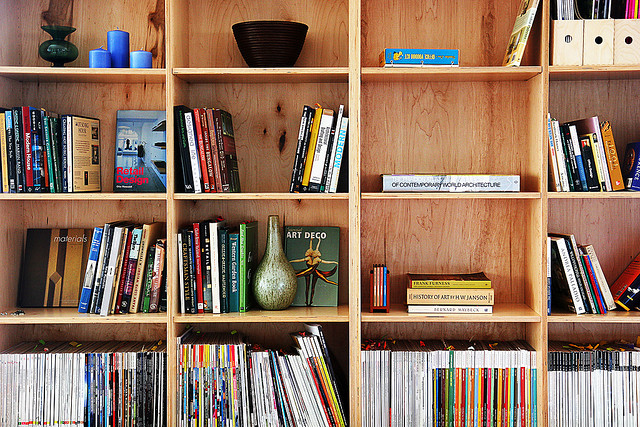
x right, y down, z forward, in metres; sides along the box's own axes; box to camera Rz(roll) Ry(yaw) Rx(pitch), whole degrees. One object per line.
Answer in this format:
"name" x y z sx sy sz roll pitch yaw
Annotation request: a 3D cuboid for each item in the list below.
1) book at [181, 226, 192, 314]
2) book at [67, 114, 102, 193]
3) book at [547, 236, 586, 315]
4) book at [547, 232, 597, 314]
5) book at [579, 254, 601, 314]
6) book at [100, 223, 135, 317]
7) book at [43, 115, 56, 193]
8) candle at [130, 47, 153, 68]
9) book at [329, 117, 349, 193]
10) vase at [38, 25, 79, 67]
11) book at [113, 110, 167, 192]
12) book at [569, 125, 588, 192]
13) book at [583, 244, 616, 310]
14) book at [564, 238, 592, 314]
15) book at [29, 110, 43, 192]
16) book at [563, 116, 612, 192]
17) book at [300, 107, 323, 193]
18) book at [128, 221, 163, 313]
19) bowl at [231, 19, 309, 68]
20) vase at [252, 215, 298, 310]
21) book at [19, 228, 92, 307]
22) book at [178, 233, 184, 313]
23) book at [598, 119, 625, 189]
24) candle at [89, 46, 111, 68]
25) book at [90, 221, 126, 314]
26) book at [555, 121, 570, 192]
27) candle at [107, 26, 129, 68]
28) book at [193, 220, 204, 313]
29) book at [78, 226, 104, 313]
"book" -0.669 0.296 2.853 0.030 0.418 0.055 -3 6 -26
"book" -1.206 -0.303 2.926 0.068 0.390 0.233 1 6 18
"book" 1.223 0.310 2.863 0.066 0.318 0.294 -11 2 5
"book" 1.301 0.295 2.854 0.068 0.330 0.314 -10 23 12
"book" 1.345 0.360 2.843 0.050 0.235 0.214 -13 -2 10
"book" -1.026 0.296 2.887 0.061 0.512 0.412 7 -1 3
"book" -1.338 -0.293 2.828 0.053 0.375 0.022 3 6 29
"candle" -0.898 -0.786 2.891 0.087 0.107 0.086 -1 3 -45
"book" 0.091 -0.306 2.855 0.052 0.439 0.356 11 2 -2
"vase" -1.323 -0.848 2.884 0.192 0.227 0.193 0 2 3
"book" -0.942 -0.315 2.999 0.381 0.584 0.061 0 -5 -2
"book" 1.274 -0.266 2.804 0.054 0.250 0.246 -9 27 8
"book" 1.411 0.327 2.864 0.056 0.269 0.256 -14 9 15
"book" 1.282 0.310 2.837 0.062 0.298 0.281 -13 7 16
"book" -1.394 -0.311 2.820 0.060 0.398 0.031 -3 6 -26
"book" 1.358 -0.306 2.928 0.125 0.368 0.348 -4 4 -34
"book" -0.040 -0.320 2.836 0.044 0.445 0.324 9 11 -5
"book" -0.886 0.297 2.889 0.060 0.461 0.388 10 3 -8
"bowl" -0.256 -0.883 2.979 0.398 0.226 0.426 -1 5 0
"vase" -0.229 0.256 2.901 0.231 0.476 0.110 -1 5 -4
"book" -1.402 0.274 2.963 0.360 0.404 0.090 -2 -3 -6
"book" -0.693 0.302 2.856 0.018 0.401 0.033 -3 6 -27
"book" 1.456 -0.290 2.842 0.137 0.332 0.095 1 5 15
"candle" -1.096 -0.773 2.846 0.091 0.114 0.097 1 0 2
"book" -1.070 0.296 2.888 0.057 0.480 0.393 8 -4 -1
"book" 1.192 -0.281 2.807 0.076 0.344 0.024 2 6 26
"candle" -1.023 -0.837 2.921 0.116 0.186 0.112 -4 6 -31
"book" -0.605 0.278 2.854 0.042 0.447 0.035 -1 5 -7
"book" -1.171 0.311 2.926 0.042 0.477 0.344 8 8 -13
